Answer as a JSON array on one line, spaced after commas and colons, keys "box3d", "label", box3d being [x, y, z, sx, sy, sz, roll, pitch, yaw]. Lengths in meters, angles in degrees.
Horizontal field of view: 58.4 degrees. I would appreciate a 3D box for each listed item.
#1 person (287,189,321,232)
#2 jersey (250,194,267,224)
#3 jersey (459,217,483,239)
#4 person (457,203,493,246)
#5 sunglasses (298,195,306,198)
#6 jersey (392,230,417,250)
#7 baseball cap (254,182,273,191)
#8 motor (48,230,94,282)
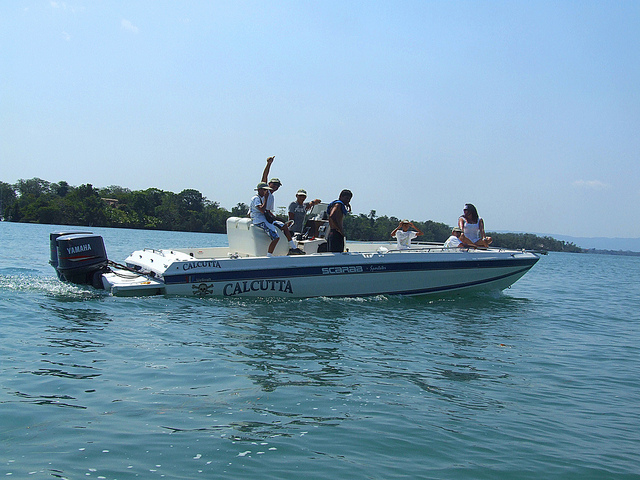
[{"box3d": [-0.397, -0.554, 14.426, 0.917, 1.567, 0.424, 4, 42, 2], "label": "person"}, {"box3d": [-1.419, -0.693, 12.546, 0.470, 0.658, 0.320, 11, 9, 40], "label": "jersey"}, {"box3d": [3.713, -0.304, 14.166, 0.636, 0.539, 0.318, 1, -6, -4], "label": "jersey"}, {"box3d": [3.863, -0.388, 14.333, 0.972, 1.012, 0.875, 3, 5, 32], "label": "person"}, {"box3d": [-0.425, -1.089, 14.041, 0.130, 0.051, 0.081, 2, -4, 42], "label": "sunglasses"}, {"box3d": [2.110, -0.014, 14.359, 0.479, 0.386, 0.175, 11, -6, -1], "label": "jersey"}, {"box3d": [-1.213, -1.188, 12.629, 0.302, 0.145, 0.300, 5, 6, 3], "label": "baseball cap"}, {"box3d": [-5.205, 0.253, 12.077, 0.784, 1.095, 0.822, -7, 11, -37], "label": "motor"}]
